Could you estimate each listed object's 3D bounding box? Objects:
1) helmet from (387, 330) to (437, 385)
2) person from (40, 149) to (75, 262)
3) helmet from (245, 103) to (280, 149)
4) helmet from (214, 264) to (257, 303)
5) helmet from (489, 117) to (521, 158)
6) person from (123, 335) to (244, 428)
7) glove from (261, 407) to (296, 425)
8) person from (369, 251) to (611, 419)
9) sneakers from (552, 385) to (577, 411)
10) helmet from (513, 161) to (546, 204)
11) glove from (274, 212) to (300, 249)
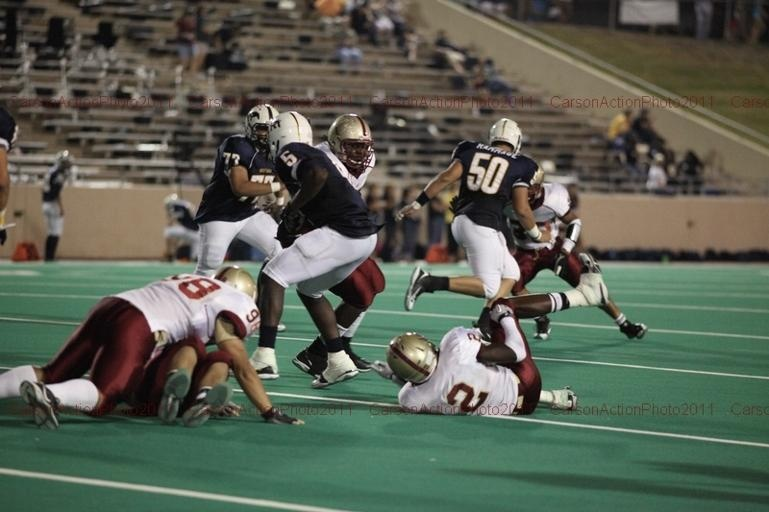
[{"bbox_3d":[0.259,0.907,8.355,0.394,0.372,0.447,23,-1,-43],"label":"helmet"},{"bbox_3d":[-6.621,-0.961,18.359,0.576,2.265,1.325,-4,10,-22],"label":"person"},{"bbox_3d":[-1.442,-1.573,10.585,0.387,0.406,0.457,-21,47,-39],"label":"helmet"},{"bbox_3d":[-1.498,0.260,9.195,0.353,0.424,0.338,19,-21,-36],"label":"helmet"},{"bbox_3d":[1.437,-1.416,10.910,0.328,0.402,0.430,8,11,11],"label":"helmet"},{"bbox_3d":[-1.951,1.146,8.528,1.297,0.931,1.739,5,-8,-25],"label":"person"},{"bbox_3d":[-0.954,1.428,8.231,0.377,0.187,0.132,3,-4,-4],"label":"glove"},{"bbox_3d":[0.997,0.946,8.989,1.829,1.434,0.978,-2,-5,0],"label":"person"},{"bbox_3d":[1.706,1.339,8.649,0.229,0.112,0.184,0,37,-1],"label":"sneakers"},{"bbox_3d":[1.741,-0.858,10.663,0.309,0.433,0.378,5,8,-2],"label":"helmet"},{"bbox_3d":[-1.039,-0.292,9.728,0.329,0.344,0.250,-12,16,-35],"label":"glove"}]
